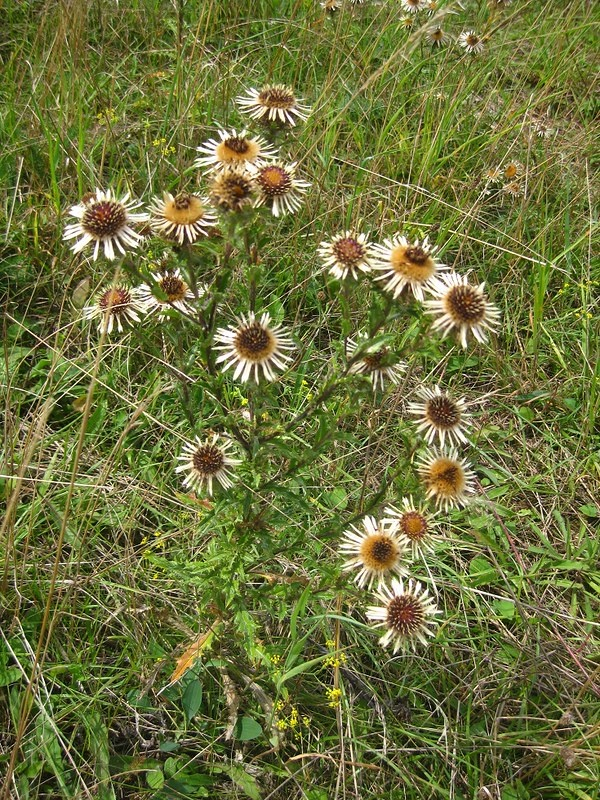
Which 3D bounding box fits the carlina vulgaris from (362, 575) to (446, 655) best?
[{"bbox_3d":[0.426,0.938,2.947,0.417,0.200,0.426,-1,59,5],"label":"carlina vulgaris"}]
